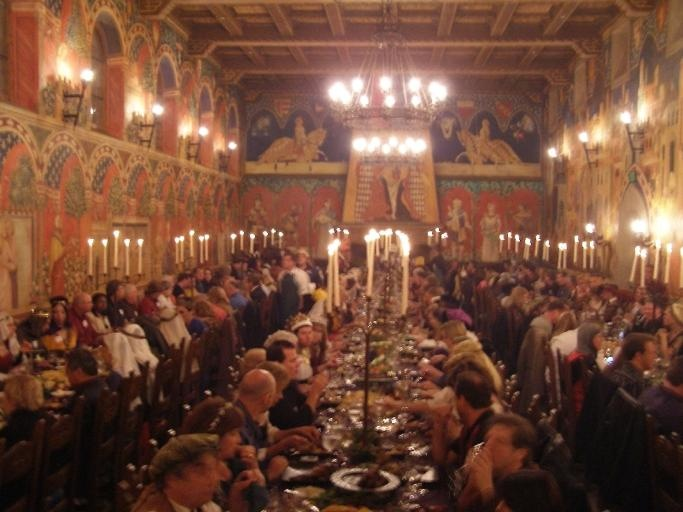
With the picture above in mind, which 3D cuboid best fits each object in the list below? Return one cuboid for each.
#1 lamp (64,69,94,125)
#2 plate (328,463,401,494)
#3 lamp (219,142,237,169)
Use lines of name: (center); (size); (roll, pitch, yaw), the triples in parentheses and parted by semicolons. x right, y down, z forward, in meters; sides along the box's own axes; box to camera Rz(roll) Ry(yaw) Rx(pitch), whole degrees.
lamp: (-4.329, -2.643, 9.272); (0.416, 1.035, 1.155); (1, -2, -27)
plate: (0.151, 1.448, 3.683); (0.440, 0.113, 0.303); (0, -2, 2)
lamp: (-3.738, -3.243, 18.426); (0.342, 1.091, 1.264); (0, -2, -2)
